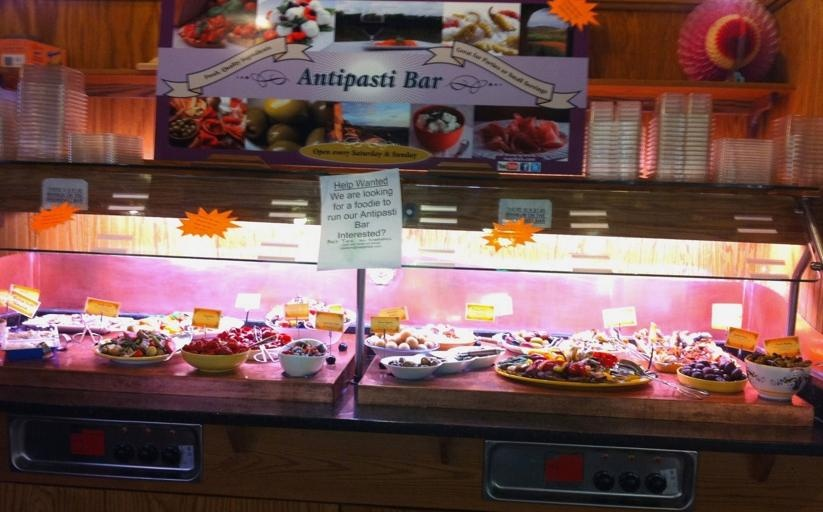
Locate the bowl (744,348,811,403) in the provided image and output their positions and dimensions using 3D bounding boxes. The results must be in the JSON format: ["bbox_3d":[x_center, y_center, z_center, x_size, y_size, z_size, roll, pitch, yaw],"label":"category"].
[{"bbox_3d":[1.779,0.591,3.372,0.282,0.217,0.116,2,5,17],"label":"bowl"}]
